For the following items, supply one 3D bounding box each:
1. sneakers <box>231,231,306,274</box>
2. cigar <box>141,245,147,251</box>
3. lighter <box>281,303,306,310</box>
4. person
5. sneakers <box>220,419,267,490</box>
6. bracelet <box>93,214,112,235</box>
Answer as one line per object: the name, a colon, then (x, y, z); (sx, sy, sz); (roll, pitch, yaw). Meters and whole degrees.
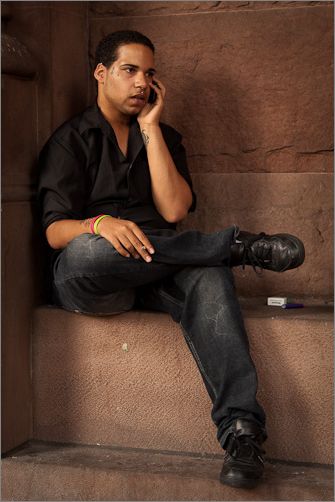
sneakers: (0.277, -0.006, 1.377); (0.258, 0.086, 0.117); (2, 16, 22)
cigar: (-0.061, -0.008, 1.278); (0.009, 0.011, 0.004); (18, 48, -2)
lighter: (0.438, 0.187, 1.660); (0.131, 0.023, 0.026); (3, -10, -44)
person: (0.002, -0.090, 1.443); (0.578, 1.282, 0.890); (0, 6, -34)
sneakers: (0.182, 0.485, 1.154); (0.096, 0.138, 0.091); (4, 5, 10)
bracelet: (-0.189, -0.076, 1.388); (0.044, 0.054, 0.105); (4, 5, 9)
